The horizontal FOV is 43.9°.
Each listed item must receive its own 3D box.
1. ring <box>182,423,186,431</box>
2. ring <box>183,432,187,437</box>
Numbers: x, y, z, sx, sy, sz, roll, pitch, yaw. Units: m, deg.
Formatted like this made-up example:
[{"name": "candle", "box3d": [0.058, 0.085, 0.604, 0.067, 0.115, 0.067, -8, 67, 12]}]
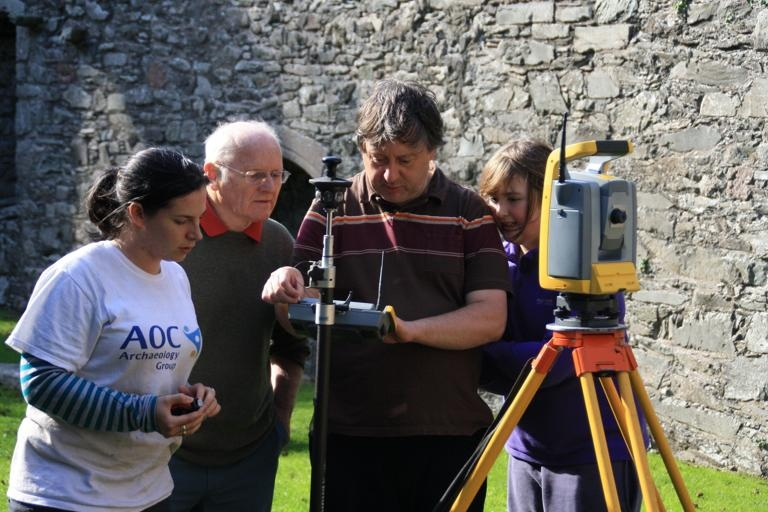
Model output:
[{"name": "ring", "box3d": [-1.197, 1.017, 5.675, 0.009, 0.031, 0.025, 7, 15, 18]}, {"name": "ring", "box3d": [-1.208, 1.069, 5.749, 0.018, 0.020, 0.069, 6, -25, -3]}]
